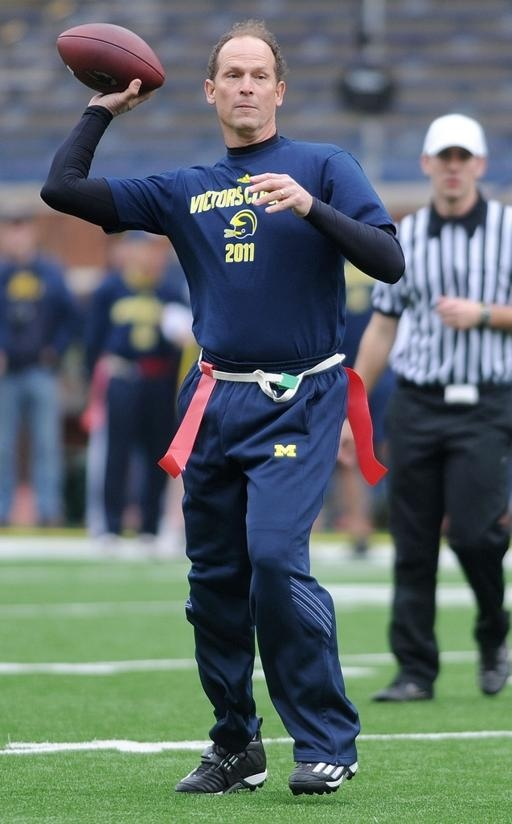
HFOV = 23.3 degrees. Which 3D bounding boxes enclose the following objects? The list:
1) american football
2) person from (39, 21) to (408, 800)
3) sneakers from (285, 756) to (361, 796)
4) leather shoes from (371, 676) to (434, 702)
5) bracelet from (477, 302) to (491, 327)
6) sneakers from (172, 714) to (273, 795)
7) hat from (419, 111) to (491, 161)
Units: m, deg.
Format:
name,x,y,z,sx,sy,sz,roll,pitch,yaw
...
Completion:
name,x,y,z,sx,sy,sz,roll,pitch,yaw
american football,-0.342,-0.836,3.009,0.245,0.140,0.161,23,-30,10
person,-0.022,-0.047,2.634,0.569,1.639,0.745,-6,8,-32
sneakers,0.136,0.717,2.425,0.054,0.071,0.159,-8,-13,34
leather shoes,0.463,0.872,3.880,0.221,0.080,0.069,3,-10,-15
bracelet,0.737,-0.307,3.970,0.038,0.074,0.065,0,7,13
sneakers,-0.076,0.733,2.587,0.251,0.137,0.085,3,-12,-44
hat,0.673,-0.932,4.176,0.152,0.090,0.201,-1,-2,8
